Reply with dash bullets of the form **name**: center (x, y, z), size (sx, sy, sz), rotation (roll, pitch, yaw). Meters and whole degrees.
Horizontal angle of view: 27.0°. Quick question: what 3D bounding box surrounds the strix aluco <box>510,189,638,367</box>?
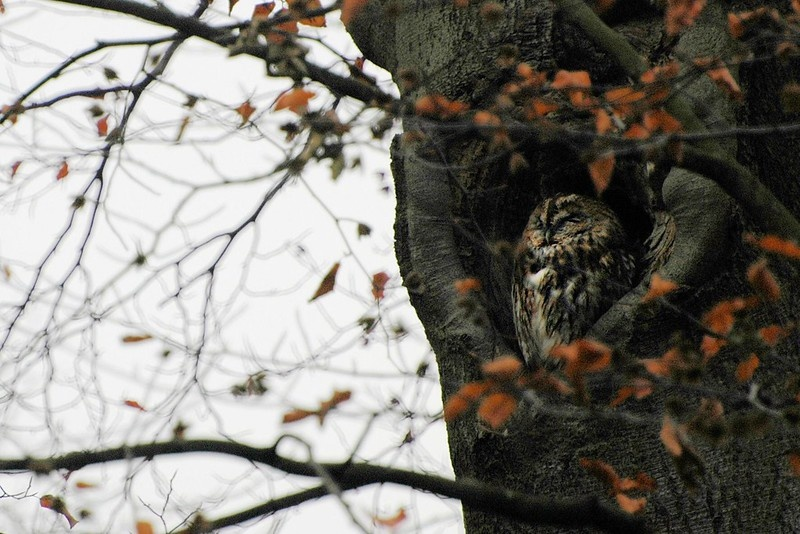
- **strix aluco**: center (0.838, 0.109, 8.241), size (0.635, 0.905, 0.651), rotation (-4, -27, 26)
